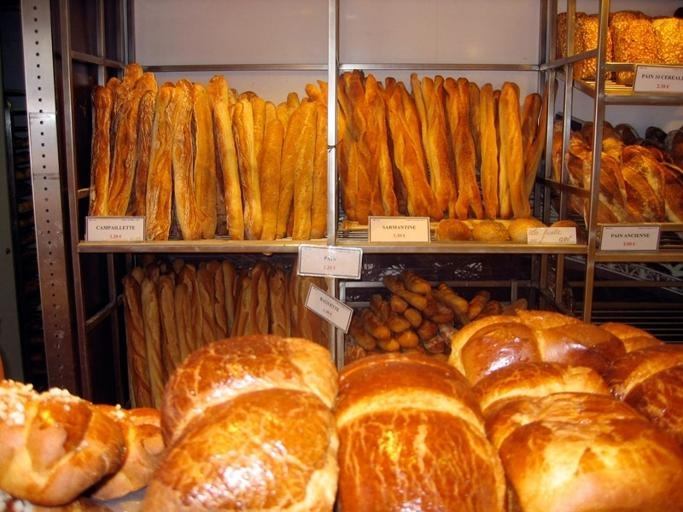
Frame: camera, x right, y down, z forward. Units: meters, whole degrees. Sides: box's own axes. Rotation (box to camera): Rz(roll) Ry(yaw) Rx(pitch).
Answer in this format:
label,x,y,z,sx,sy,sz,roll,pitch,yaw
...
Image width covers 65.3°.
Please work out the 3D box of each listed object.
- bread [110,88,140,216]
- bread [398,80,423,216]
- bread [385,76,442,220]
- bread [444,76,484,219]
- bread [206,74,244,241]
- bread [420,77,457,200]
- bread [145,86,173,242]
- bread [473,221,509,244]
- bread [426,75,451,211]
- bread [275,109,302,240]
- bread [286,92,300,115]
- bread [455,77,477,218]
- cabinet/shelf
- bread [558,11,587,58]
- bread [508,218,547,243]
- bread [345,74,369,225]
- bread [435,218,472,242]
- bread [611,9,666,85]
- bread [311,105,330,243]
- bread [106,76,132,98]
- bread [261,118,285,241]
label,x,y,z,sx,sy,sz,roll,pitch,yaw
bread,-0.802,-0.381,1.967,0.136,0.448,0.072,-5,11,-30
bread,0.254,-0.432,2.133,0.095,0.500,0.110,-3,-3,-6
bread,0.332,-0.350,2.195,0.155,0.661,0.132,-17,26,2
bread,0.487,-0.437,2.135,0.128,0.582,0.091,-2,1,9
bread,-0.437,-0.375,2.021,0.114,0.597,0.248,-2,10,-14
bread,0.382,-0.449,2.130,0.096,0.557,0.129,-4,-5,-2
bread,-0.638,-0.351,1.977,0.091,0.585,0.095,4,-7,-5
bread,0.549,-0.085,1.970,0.083,0.057,0.090,3,0,2
bread,0.362,-0.460,2.179,0.080,0.548,0.111,-1,-9,-7
bread,-0.204,-0.300,2.033,0.072,0.514,0.076,3,3,31
bread,-0.197,-0.617,2.151,0.052,0.040,0.123,3,44,1
bread,0.488,-0.432,2.130,0.087,0.536,0.073,0,-4,-4
cabinet/shelf,0.028,-0.271,1.962,1.507,1.731,0.532,0,15,2
bread,0.964,-0.936,2.249,0.048,0.196,0.178,-7,13,-25
bread,0.688,-0.097,2.021,0.129,0.081,0.140,0,11,-1
bread,0.040,-0.413,2.110,0.103,0.568,0.132,0,2,-4
bread,0.408,-0.095,1.961,0.084,0.089,0.085,-1,3,-39
bread,1.149,-0.811,2.073,0.269,0.317,0.079,0,-2,10
bread,-0.078,-0.303,1.958,0.072,0.439,0.068,0,-5,1
bread,-0.847,-0.652,2.064,0.071,0.109,0.034,2,-12,0
bread,-0.259,-0.283,1.987,0.089,0.431,0.104,-1,9,-7
